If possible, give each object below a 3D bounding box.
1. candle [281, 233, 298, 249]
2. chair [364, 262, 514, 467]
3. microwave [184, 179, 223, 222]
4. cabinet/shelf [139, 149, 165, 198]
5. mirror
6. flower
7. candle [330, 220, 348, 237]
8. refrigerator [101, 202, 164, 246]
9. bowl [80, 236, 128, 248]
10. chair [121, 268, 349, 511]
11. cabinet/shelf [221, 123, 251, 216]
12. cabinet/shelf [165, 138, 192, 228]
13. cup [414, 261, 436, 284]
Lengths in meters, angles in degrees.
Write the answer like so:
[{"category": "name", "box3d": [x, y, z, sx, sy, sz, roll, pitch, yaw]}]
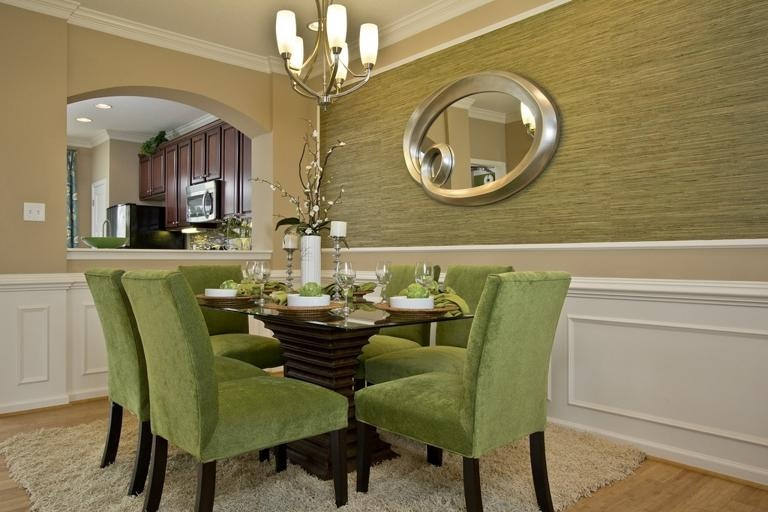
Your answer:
[{"category": "candle", "box3d": [-0.625, -0.095, 3.286, 0.078, 0.112, 0.083, -3, 7, -17]}, {"category": "chair", "box3d": [0.438, 0.587, 3.224, 0.730, 1.116, 0.824, 2, 0, 43]}, {"category": "microwave", "box3d": [-2.314, -0.673, 6.510, 0.710, 0.500, 0.388, 1, 2, 43]}, {"category": "cabinet/shelf", "box3d": [-3.453, -1.228, 7.392, 0.311, 0.678, 0.795, 5, -8, -43]}, {"category": "mirror", "box3d": [0.686, -0.934, 4.017, 0.226, 1.029, 1.489, -4, 4, -41]}, {"category": "flower", "box3d": [-0.576, -0.477, 3.619, 0.636, 0.701, 0.705, 4, -2, -29]}, {"category": "candle", "box3d": [-0.298, -0.175, 3.131, 0.132, 0.118, 0.110, 3, -2, 14]}, {"category": "refrigerator", "box3d": [-3.635, -0.405, 7.276, 0.516, 0.625, 0.701, 5, 6, 22]}, {"category": "bowl", "box3d": [-2.650, -0.121, 4.681, 0.336, 0.109, 0.270, -4, 6, -31]}, {"category": "chair", "box3d": [-0.922, 0.581, 3.143, 1.313, 1.725, 1.077, -3, 2, -36]}, {"category": "cabinet/shelf", "box3d": [-1.765, -1.028, 5.940, 0.206, 1.079, 0.780, -7, 8, -35]}, {"category": "cabinet/shelf", "box3d": [-2.871, -0.992, 6.918, 0.195, 1.168, 0.732, -7, 9, -39]}, {"category": "cup", "box3d": [0.231, 0.094, 2.932, 0.127, 0.168, 0.120, 0, -5, 0]}]
